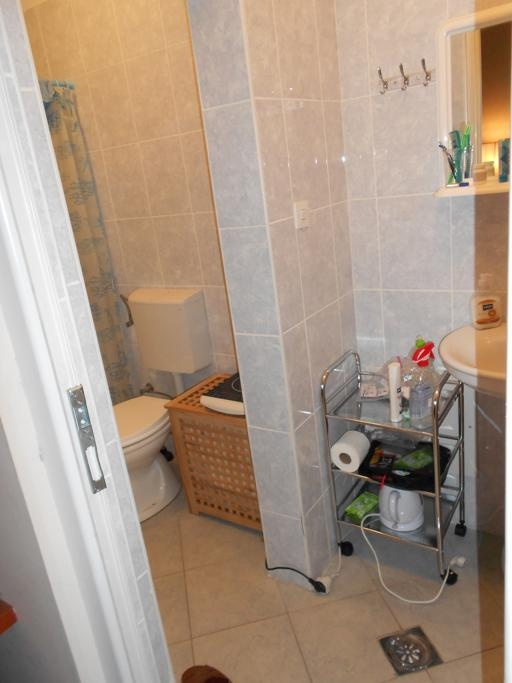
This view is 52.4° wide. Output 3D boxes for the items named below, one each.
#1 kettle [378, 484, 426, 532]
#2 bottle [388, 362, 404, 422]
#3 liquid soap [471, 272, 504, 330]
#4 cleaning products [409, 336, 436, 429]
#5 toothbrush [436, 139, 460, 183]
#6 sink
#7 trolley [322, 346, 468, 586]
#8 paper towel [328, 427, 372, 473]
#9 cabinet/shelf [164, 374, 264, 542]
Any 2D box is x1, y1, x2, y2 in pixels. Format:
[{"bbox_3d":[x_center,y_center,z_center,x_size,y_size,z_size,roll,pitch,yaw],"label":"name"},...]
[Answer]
[{"bbox_3d":[0.504,0.559,1.799,0.159,0.164,0.121,-5,21,7],"label":"kettle"},{"bbox_3d":[0.436,0.152,1.638,0.042,0.170,0.116,-2,21,15],"label":"bottle"},{"bbox_3d":[0.721,-0.129,1.626,0.088,0.138,0.143,2,23,25],"label":"liquid soap"},{"bbox_3d":[0.513,0.113,1.620,0.080,0.229,0.224,0,22,19],"label":"cleaning products"},{"bbox_3d":[0.587,-0.539,1.580,0.068,0.120,0.023,0,-16,-41],"label":"toothbrush"},{"bbox_3d":[0.613,0.047,1.469,0.181,0.137,0.205,9,25,12],"label":"sink"},{"bbox_3d":[0.492,0.412,1.822,0.389,0.715,0.356,4,21,33],"label":"trolley"},{"bbox_3d":[0.314,0.361,1.823,0.104,0.139,0.136,14,26,32],"label":"paper towel"},{"bbox_3d":[-0.100,0.485,2.240,0.384,0.609,0.382,15,27,33],"label":"cabinet/shelf"}]
